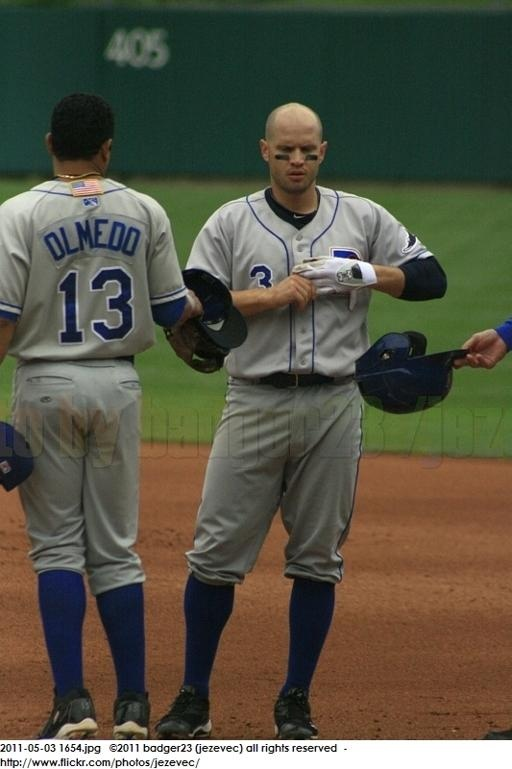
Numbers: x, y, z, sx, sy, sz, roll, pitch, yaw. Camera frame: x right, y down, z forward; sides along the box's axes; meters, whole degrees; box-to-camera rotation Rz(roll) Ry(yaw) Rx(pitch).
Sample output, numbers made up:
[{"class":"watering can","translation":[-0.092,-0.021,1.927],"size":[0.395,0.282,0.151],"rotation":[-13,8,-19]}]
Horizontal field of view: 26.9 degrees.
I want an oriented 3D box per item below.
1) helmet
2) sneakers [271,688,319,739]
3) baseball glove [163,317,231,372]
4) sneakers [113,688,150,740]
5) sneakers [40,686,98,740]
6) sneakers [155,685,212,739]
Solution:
[{"class":"helmet","translation":[0.411,-0.025,3.022],"size":[0.282,0.229,0.217],"rotation":[-3,9,-33]},{"class":"sneakers","translation":[0.102,0.888,2.840],"size":[0.092,0.057,0.135],"rotation":[-3,28,-6]},{"class":"baseball glove","translation":[-0.175,-0.117,3.074],"size":[0.136,0.131,0.167],"rotation":[-32,22,6]},{"class":"sneakers","translation":[-0.310,0.846,2.678],"size":[0.089,0.123,0.111],"rotation":[1,7,-8]},{"class":"sneakers","translation":[-0.456,0.814,2.610],"size":[0.138,0.126,0.106],"rotation":[1,7,-3]},{"class":"sneakers","translation":[-0.198,0.895,2.867],"size":[0.079,0.073,0.185],"rotation":[3,-7,12]}]
